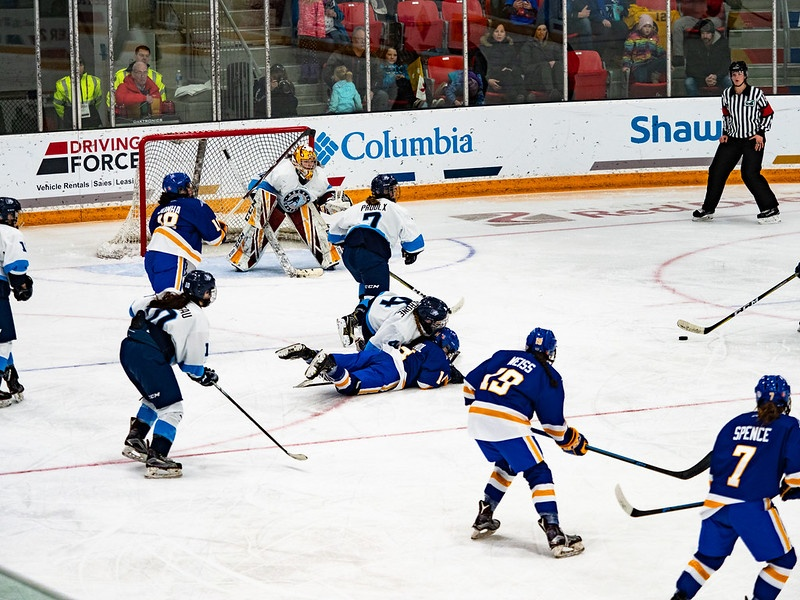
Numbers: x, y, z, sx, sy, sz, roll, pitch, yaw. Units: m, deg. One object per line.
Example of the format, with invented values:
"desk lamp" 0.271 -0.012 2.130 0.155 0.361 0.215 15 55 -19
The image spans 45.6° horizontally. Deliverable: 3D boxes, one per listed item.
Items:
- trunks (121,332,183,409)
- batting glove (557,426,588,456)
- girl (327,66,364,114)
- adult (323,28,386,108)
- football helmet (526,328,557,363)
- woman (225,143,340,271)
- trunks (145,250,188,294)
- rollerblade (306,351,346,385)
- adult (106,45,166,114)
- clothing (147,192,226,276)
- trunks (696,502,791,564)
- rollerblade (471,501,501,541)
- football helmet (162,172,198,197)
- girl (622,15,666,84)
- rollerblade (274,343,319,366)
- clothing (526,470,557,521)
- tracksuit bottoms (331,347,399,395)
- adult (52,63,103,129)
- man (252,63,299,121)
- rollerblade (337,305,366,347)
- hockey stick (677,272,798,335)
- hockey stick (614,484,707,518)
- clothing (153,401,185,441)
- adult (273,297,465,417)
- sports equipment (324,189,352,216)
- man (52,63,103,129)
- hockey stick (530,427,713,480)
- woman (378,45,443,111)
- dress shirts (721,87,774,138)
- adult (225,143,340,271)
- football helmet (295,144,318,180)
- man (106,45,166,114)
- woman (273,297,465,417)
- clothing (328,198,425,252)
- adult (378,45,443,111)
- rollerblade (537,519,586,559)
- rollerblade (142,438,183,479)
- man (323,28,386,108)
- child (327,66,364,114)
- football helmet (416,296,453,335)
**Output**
"trunks" -1.362 0.393 5.163 0.366 0.377 0.149 4 12 25
"batting glove" 0.813 0.659 4.407 0.155 0.063 0.119 15 9 -42
"girl" -0.755 -2.916 12.976 0.473 0.627 0.163 -2 11 -5
"adult" -0.603 -3.206 13.013 0.872 1.188 0.765 0 -16 1
"football helmet" 0.665 0.212 4.434 0.137 0.160 0.168 6 0 20
"woman" -1.142 -0.977 9.850 1.222 1.311 0.820 3 19 -12
"trunks" -1.743 -0.231 7.125 0.282 0.354 0.215 7 41 27
"rollerblade" -0.463 0.423 5.994 0.154 0.245 0.316 4 11 25
"adult" -3.367 -2.934 12.241 0.672 0.744 0.152 -4 11 -18
"clothing" -1.706 -0.568 7.538 0.515 0.546 0.616 10 9 30
"trunks" 1.354 0.932 3.762 0.357 0.229 0.139 -9 -6 34
"rollerblade" 0.392 1.034 4.414 0.083 0.154 0.235 6 10 29
"football helmet" -1.766 -0.934 7.602 0.230 0.205 0.170 -20 21 -7
"girl" 3.561 -3.580 13.677 0.751 1.079 0.612 -2 23 2
"rollerblade" -0.631 0.342 5.929 0.311 0.106 0.124 10 30 -14
"clothing" 0.631 0.864 4.263 0.132 0.247 0.151 -1 11 -1
"tracksuit bottoms" -0.252 0.473 6.187 0.426 0.155 0.240 -9 48 -47
"adult" -4.107 -2.632 12.000 0.789 0.915 0.397 -5 12 -25
"man" -1.660 -2.790 12.677 0.572 0.696 0.270 -2 10 -15
"rollerblade" -0.351 0.204 6.943 0.128 0.357 0.168 -2 15 11
"hockey stick" 2.780 0.041 7.812 1.010 0.166 0.079 -26 19 -12
"hockey stick" 1.116 0.920 4.192 0.267 0.066 0.252 -7 14 -13
"clothing" -1.261 0.654 5.149 0.159 0.211 0.142 -4 11 -15
"adult" -0.263 0.298 6.249 1.338 0.569 0.564 -7 23 -20
"sports equipment" -0.654 -1.054 10.195 0.210 0.243 0.603 3 2 9
"man" -4.107 -2.632 12.000 0.789 0.915 0.397 -5 12 -25
"hockey stick" 1.151 0.811 4.948 0.700 0.219 0.050 16 43 12
"woman" 0.001 -3.087 13.103 0.628 0.811 0.699 -18 16 -25
"dress shirts" 4.044 -2.215 11.061 0.299 0.625 0.705 -21 23 -32
"adult" -1.117 -0.970 9.865 1.219 1.304 0.836 3 16 -11
"football helmet" -0.946 -1.400 9.607 0.250 0.358 0.227 -4 11 -16
"man" -3.367 -2.934 12.241 0.672 0.744 0.152 -4 11 -18
"woman" -0.269 0.300 6.262 1.338 0.569 0.564 -7 23 -20
"clothing" -0.233 -0.622 7.907 0.891 0.448 0.307 9 37 12
"adult" -0.012 -3.082 13.107 0.701 0.818 0.685 -17 13 -29
"rollerblade" 0.729 1.074 4.284 0.090 0.178 0.268 -29 -22 37
"rollerblade" -1.331 0.859 5.077 0.333 0.210 0.106 0 1 -1
"man" -0.554 -3.183 13.001 0.860 1.221 0.771 8 -13 -28
"child" -0.755 -2.916 12.976 0.473 0.627 0.163 -2 11 -5
"football helmet" 0.180 0.120 6.226 0.250 0.220 0.187 -6 56 -27
